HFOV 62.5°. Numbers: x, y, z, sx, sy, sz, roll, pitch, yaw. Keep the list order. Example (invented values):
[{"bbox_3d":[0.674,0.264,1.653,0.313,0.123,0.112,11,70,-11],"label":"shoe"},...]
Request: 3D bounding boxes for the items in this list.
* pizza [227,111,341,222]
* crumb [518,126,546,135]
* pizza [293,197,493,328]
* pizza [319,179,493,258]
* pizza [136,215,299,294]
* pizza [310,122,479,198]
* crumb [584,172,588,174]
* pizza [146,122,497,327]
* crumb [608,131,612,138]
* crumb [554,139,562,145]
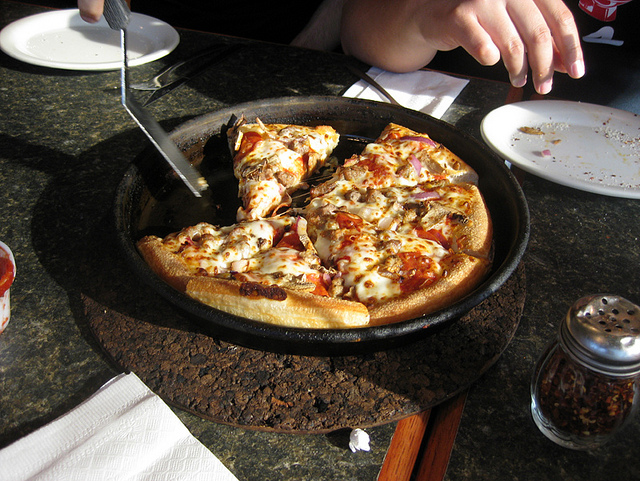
[{"bbox_3d":[-0.099,-0.272,1.573,0.411,0.271,0.404,-11,29,-30],"label":"pizza"},{"bbox_3d":[0.694,-0.354,1.699,0.047,0.012,0.038,19,37,14],"label":"crumb"},{"bbox_3d":[0.121,0.008,1.319,0.522,0.214,0.437,-3,19,-3],"label":"pizza"},{"bbox_3d":[0.248,-0.076,1.339,0.310,0.062,0.218,11,49,9],"label":"pizza"},{"bbox_3d":[-0.253,0.015,1.242,0.238,0.049,0.182,-25,34,-17],"label":"pizza"},{"bbox_3d":[0.194,-0.206,1.427,0.294,0.069,0.233,-40,47,-15],"label":"pizza"},{"bbox_3d":[0.791,-0.201,1.565,0.007,0.002,0.005,-18,19,-39],"label":"crumb"},{"bbox_3d":[0.023,-0.086,1.321,0.848,0.177,0.732,3,52,-1],"label":"pizza"},{"bbox_3d":[0.938,-0.341,1.703,0.012,0.004,0.035,14,53,8],"label":"crumb"},{"bbox_3d":[0.755,-0.313,1.675,0.012,0.005,0.020,10,47,30],"label":"crumb"}]
